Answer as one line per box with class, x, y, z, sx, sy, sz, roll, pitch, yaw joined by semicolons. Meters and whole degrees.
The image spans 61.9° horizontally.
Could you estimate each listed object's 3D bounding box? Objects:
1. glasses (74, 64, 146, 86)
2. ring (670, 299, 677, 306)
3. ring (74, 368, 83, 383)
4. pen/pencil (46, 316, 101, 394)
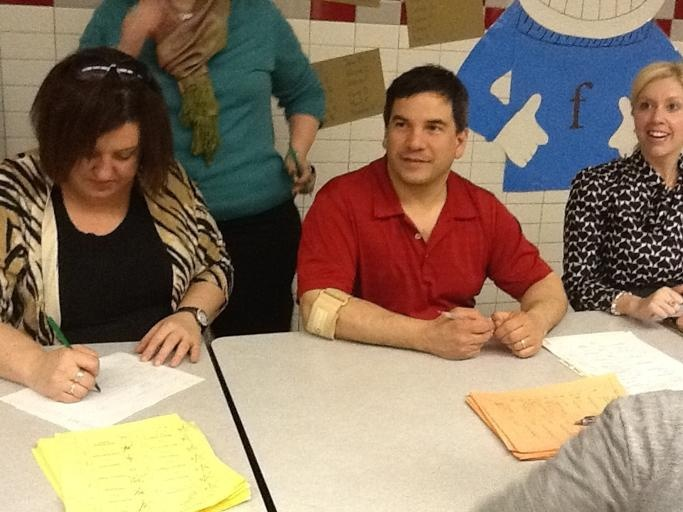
glasses;-0.660;-0.540;1.676;0.063;0.048;0.212;17;23;42
ring;1.132;0.159;1.953;0.019;0.006;0.020;-4;29;2
ring;-0.644;0.292;1.396;0.015;0.007;0.029;23;55;-2
pen/pencil;-0.717;0.265;1.516;0.029;0.200;0.023;-28;-2;-42
